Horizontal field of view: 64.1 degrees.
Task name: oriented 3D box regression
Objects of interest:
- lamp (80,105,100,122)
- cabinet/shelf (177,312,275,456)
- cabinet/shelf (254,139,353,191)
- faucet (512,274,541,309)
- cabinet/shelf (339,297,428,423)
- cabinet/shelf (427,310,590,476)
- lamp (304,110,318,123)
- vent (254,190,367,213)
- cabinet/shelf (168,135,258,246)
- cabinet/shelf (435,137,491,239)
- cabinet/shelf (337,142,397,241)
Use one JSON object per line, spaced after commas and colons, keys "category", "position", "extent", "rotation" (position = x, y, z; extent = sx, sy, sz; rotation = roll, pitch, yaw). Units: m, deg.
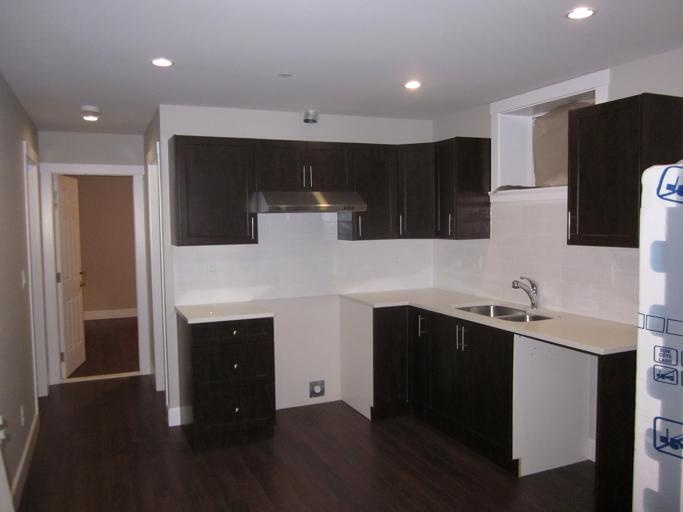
{"category": "lamp", "position": [-2.179, -1.240, 4.733], "extent": [0.130, 0.086, 0.137], "rotation": [-1, -3, 4]}
{"category": "cabinet/shelf", "position": [-0.916, 1.123, 4.691], "extent": [0.706, 1.033, 0.690], "rotation": [0, -26, -17]}
{"category": "cabinet/shelf", "position": [-0.363, -0.788, 4.782], "extent": [0.813, 0.415, 0.145], "rotation": [-3, 7, -12]}
{"category": "faucet", "position": [1.481, 0.291, 4.344], "extent": [0.255, 0.218, 0.079], "rotation": [12, -10, -22]}
{"category": "cabinet/shelf", "position": [0.388, 0.927, 5.075], "extent": [0.666, 1.017, 0.683], "rotation": [4, 4, 43]}
{"category": "cabinet/shelf", "position": [1.314, 1.042, 4.574], "extent": [0.706, 1.043, 1.356], "rotation": [1, 0, -19]}
{"category": "lamp", "position": [-0.271, -1.223, 4.794], "extent": [0.103, 0.111, 0.030], "rotation": [2, 10, 3]}
{"category": "vent", "position": [-0.282, -0.464, 4.693], "extent": [0.991, 0.188, 0.314], "rotation": [-4, 8, -23]}
{"category": "cabinet/shelf", "position": [-1.053, -0.545, 4.536], "extent": [0.625, 0.880, 0.159], "rotation": [-5, 8, -31]}
{"category": "cabinet/shelf", "position": [1.083, -0.598, 4.859], "extent": [0.488, 0.882, 0.257], "rotation": [0, 7, 11]}
{"category": "cabinet/shelf", "position": [0.278, -0.618, 5.141], "extent": [0.429, 0.818, 0.274], "rotation": [-6, 12, -27]}
